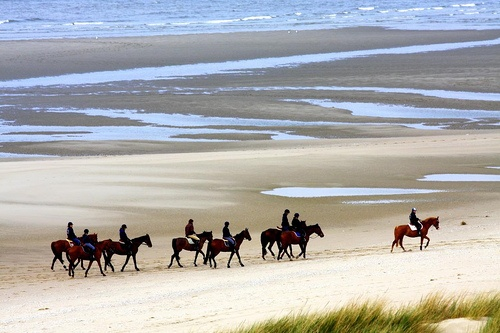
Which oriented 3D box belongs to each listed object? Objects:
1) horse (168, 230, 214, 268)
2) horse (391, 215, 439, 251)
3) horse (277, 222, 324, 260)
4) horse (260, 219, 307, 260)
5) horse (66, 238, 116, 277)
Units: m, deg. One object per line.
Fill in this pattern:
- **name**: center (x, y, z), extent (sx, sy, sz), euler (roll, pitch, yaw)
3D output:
- **horse**: center (-4.320, 5.940, 69.235), extent (3.461, 2.107, 0.816), euler (0, 4, -13)
- **horse**: center (12.049, 4.933, 68.758), extent (3.655, 2.302, 2.036), euler (-2, 2, -1)
- **horse**: center (3.632, 5.556, 69.531), extent (3.479, 2.475, 2.208), euler (-3, 2, -9)
- **horse**: center (1.548, 5.287, 69.410), extent (4.789, 2.733, 1.064), euler (-6, 7, -9)
- **horse**: center (-11.701, 6.668, 68.048), extent (3.020, 2.455, 1.548), euler (-3, 2, -10)
